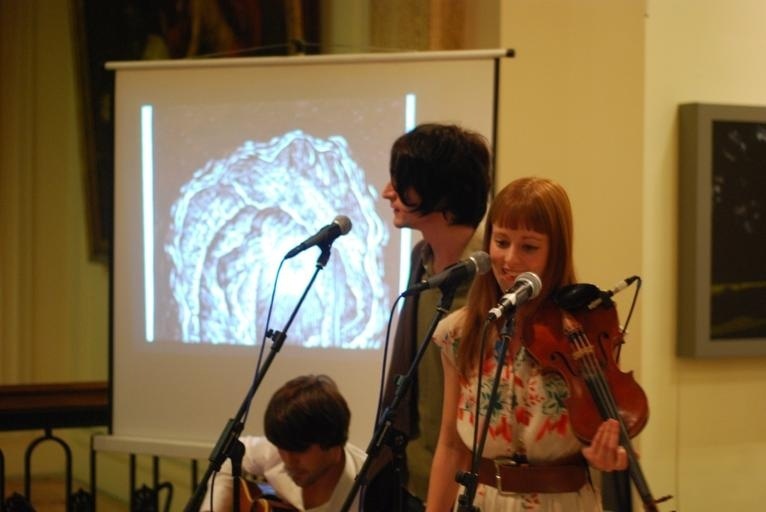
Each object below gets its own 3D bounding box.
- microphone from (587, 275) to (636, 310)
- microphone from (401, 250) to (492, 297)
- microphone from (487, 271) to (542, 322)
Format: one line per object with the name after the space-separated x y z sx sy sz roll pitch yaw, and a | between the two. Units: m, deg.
1.050 0.164 3.573 0.071 0.039 0.416 48 36 19 | microphone
0.299 0.080 3.447 0.298 0.090 0.087 -23 33 -11 | microphone
0.505 0.156 2.988 0.240 0.183 0.077 2 -1 -40 | microphone
